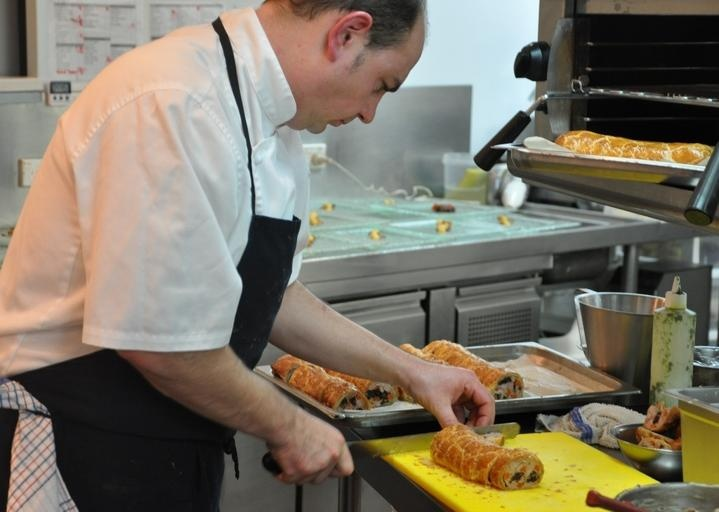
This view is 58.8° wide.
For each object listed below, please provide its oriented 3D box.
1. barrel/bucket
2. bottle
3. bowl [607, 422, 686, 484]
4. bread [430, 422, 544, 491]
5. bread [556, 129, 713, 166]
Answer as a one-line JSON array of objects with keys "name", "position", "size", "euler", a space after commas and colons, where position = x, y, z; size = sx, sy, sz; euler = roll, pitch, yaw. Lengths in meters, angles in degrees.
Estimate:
[{"name": "barrel/bucket", "position": [0.753, 0.216, 1.875], "size": [0.276, 0.324, 0.267], "euler": [4, 8, -1]}, {"name": "bottle", "position": [0.753, 0.211, 1.525], "size": [0.089, 0.305, 0.066], "euler": [2, 12, 8]}, {"name": "bowl", "position": [0.639, 0.416, 1.420], "size": [0.141, 0.059, 0.156], "euler": [-9, 3, 7]}, {"name": "bread", "position": [0.265, 0.423, 1.371], "size": [0.110, 0.069, 0.176], "euler": [2, 5, -39]}, {"name": "bread", "position": [0.562, -0.229, 1.323], "size": [0.215, 0.052, 0.370], "euler": [-9, 16, -34]}]
